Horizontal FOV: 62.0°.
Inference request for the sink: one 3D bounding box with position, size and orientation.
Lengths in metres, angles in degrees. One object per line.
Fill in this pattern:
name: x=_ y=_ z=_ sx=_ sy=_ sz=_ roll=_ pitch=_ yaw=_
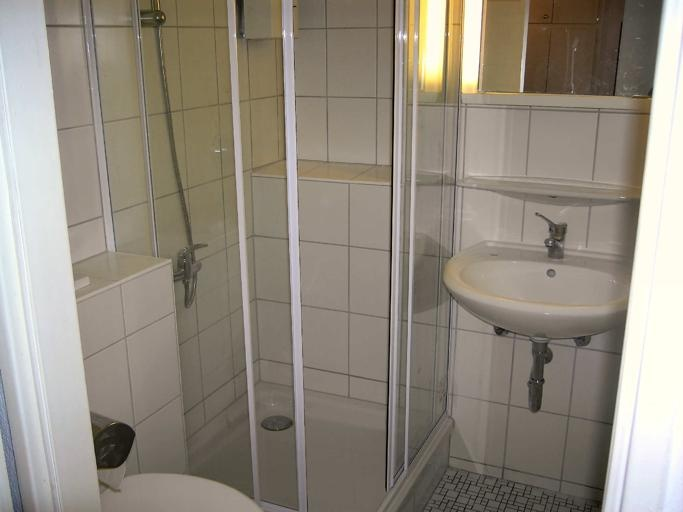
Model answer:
sink: x=0.688 y=0.138 z=2.072 sx=0.623 sy=0.258 sz=0.497 roll=13 pitch=21 yaw=26
